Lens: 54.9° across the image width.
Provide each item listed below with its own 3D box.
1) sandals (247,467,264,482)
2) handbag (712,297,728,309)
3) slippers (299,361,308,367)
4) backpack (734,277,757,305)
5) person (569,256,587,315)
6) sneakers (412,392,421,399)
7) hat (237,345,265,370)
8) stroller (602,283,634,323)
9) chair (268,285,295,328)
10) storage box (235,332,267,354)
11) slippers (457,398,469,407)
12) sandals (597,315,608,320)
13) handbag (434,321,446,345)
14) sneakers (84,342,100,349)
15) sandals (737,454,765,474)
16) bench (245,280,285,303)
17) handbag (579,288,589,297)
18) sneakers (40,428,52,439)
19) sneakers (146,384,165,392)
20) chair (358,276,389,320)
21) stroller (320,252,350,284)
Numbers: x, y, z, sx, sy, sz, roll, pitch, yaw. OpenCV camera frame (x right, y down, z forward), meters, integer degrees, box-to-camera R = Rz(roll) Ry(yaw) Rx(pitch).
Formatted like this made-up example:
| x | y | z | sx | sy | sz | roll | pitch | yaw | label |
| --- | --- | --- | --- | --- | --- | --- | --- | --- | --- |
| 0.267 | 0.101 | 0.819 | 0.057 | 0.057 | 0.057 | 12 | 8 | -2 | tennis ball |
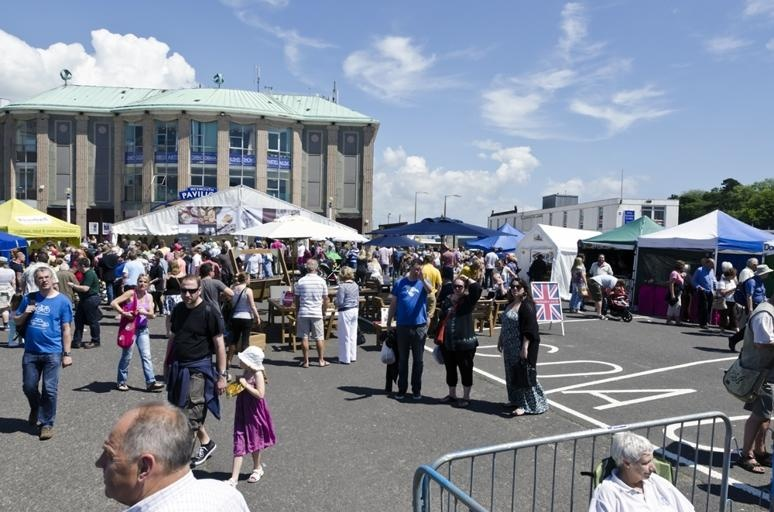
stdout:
| x | y | z | sx | sy | sz | roll | pitch | yaw | label |
| --- | --- | --- | --- | --- | --- | --- | --- | --- | --- |
| -2.329 | 3.894 | 13.274 | 0.324 | 0.228 | 0.176 | -1 | 2 | -31 | sandals |
| 9.767 | 1.406 | 21.846 | 0.298 | 0.300 | 0.422 | 1 | 0 | -18 | handbag |
| -1.967 | 2.539 | 17.495 | 0.092 | 0.108 | 0.272 | 1 | 5 | -30 | slippers |
| 9.539 | 0.932 | 20.079 | 0.501 | 0.690 | 0.666 | 0 | 5 | -28 | backpack |
| 6.441 | 0.970 | 25.192 | 0.512 | 1.893 | 0.980 | 1 | 2 | 12 | person |
| 0.612 | 2.984 | 15.896 | 0.168 | 0.167 | 0.102 | 0 | -2 | 1 | sneakers |
| -2.419 | 1.810 | 13.192 | 0.400 | 0.421 | 0.315 | 0 | 2 | -17 | hat |
| 7.615 | 1.491 | 24.564 | 1.198 | 1.666 | 1.018 | 4 | 0 | 18 | stroller |
| -2.823 | 1.336 | 19.820 | 0.415 | 0.712 | 1.185 | 1 | -3 | -14 | chair |
| -3.189 | 2.052 | 17.860 | 0.525 | 0.324 | 0.520 | 1 | 0 | -38 | storage box |
| 1.584 | 3.065 | 15.586 | 0.179 | 0.180 | 0.493 | -1 | -1 | 6 | slippers |
| 7.013 | 1.997 | 24.209 | 0.139 | 0.111 | 0.281 | -2 | 0 | -33 | sandals |
| 1.106 | 1.594 | 15.516 | 0.094 | 0.391 | 0.285 | 11 | -10 | -9 | handbag |
| -7.394 | 2.229 | 18.596 | 0.262 | 0.104 | 0.151 | 4 | 1 | -30 | sneakers |
| 6.716 | 3.872 | 13.819 | 0.224 | 0.153 | 0.437 | -3 | -3 | -8 | sandals |
| -3.538 | 1.002 | 21.296 | 0.303 | 0.380 | 1.332 | -31 | -15 | 19 | bench |
| 6.568 | 1.190 | 24.979 | 0.260 | 0.336 | 0.121 | 11 | -2 | -5 | handbag |
| -6.441 | 3.340 | 14.035 | 0.160 | 0.255 | 0.263 | -2 | -17 | 9 | sneakers |
| -4.972 | 2.821 | 15.932 | 0.393 | 0.172 | 0.158 | 0 | 5 | -21 | sneakers |
| -0.365 | 1.318 | 22.234 | 0.963 | 0.697 | 1.435 | 0 | 2 | -9 | chair |
| -2.037 | 0.425 | 27.792 | 0.864 | 1.017 | 1.017 | 15 | 35 | 35 | stroller |
